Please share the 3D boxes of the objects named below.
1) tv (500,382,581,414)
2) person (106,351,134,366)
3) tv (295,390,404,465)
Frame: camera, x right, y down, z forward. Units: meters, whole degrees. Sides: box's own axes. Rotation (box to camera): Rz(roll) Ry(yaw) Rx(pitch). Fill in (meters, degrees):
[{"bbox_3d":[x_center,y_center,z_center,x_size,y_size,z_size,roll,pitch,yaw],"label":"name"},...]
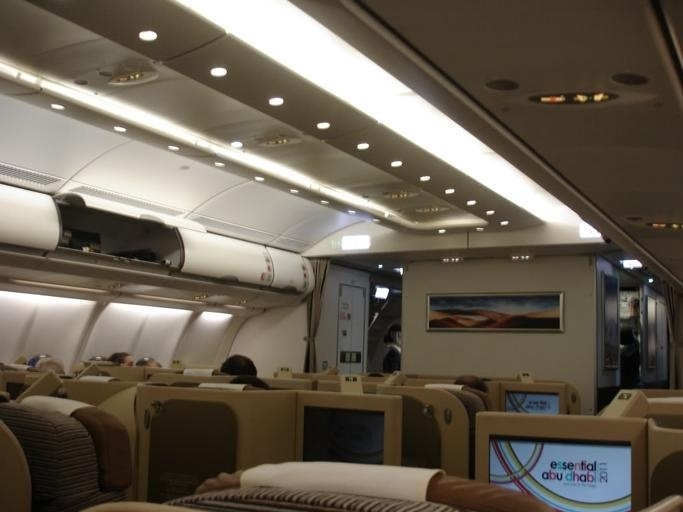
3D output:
[{"bbox_3d":[2.007,1.427,4.805,0.690,0.311,0.518,12,-19,-43],"label":"tv"},{"bbox_3d":[-3.583,1.651,7.662,0.344,0.222,1.014,6,-15,-25],"label":"person"},{"bbox_3d":[0.009,0.903,2.412,0.487,0.335,0.057,6,-7,-8],"label":"tv"}]
